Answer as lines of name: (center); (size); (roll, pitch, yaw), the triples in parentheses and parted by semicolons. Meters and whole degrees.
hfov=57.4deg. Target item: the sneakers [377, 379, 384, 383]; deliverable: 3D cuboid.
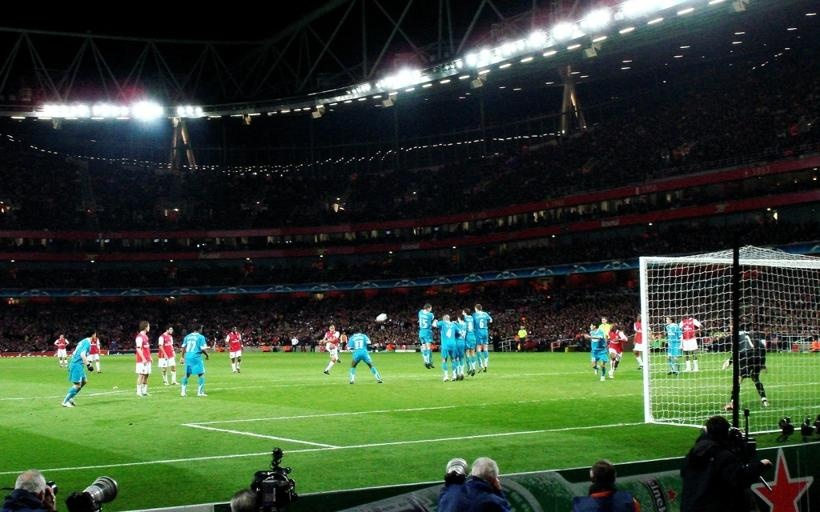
sneakers: (-1.514, 6.153, 36.836); (0.311, 0.177, 0.459); (1, -4, -5)

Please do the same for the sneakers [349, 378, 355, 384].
sneakers: (-2.901, 6.168, 36.677); (0.304, 0.246, 0.177); (1, -3, 5)

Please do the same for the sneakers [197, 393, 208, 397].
sneakers: (-9.474, 6.306, 34.018); (0.548, 0.196, 0.168); (-2, -6, 2)

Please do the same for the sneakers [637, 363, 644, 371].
sneakers: (12.302, 5.931, 40.103); (0.240, 0.250, 0.646); (1, 3, 6)
